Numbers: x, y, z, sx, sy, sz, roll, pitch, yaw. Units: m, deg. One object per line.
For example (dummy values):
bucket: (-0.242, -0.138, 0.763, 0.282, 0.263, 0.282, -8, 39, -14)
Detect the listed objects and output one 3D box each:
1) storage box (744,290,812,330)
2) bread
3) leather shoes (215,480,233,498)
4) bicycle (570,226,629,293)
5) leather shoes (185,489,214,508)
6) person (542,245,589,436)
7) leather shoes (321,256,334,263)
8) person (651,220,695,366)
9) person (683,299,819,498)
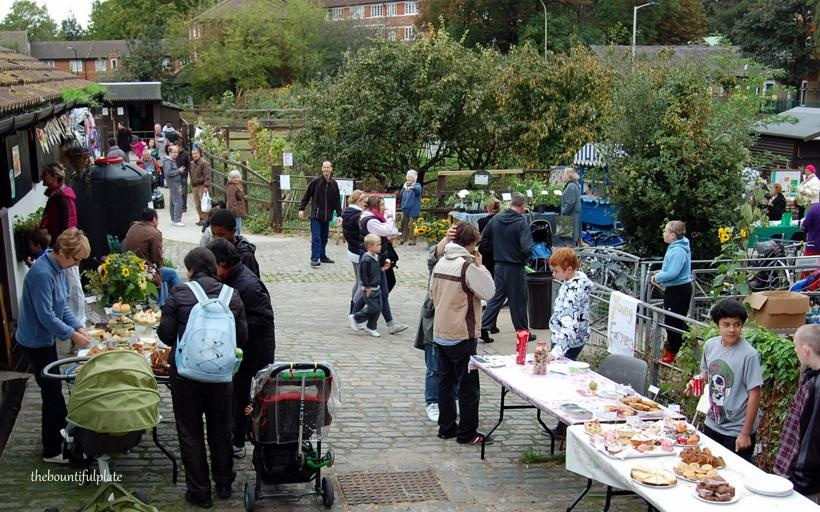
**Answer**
storage box: (6.093, 0.794, 13.754, 0.666, 0.732, 0.671, 0, 3, -8)
bread: (3.457, 2.683, 10.473, 1.192, 0.370, 0.740, 3, 13, 11)
leather shoes: (-2.573, 3.216, 11.593, 0.205, 0.161, 0.398, 0, -4, -13)
bicycle: (4.115, 0.075, 17.868, 1.379, 1.573, 0.700, 1, 1, -7)
leather shoes: (-2.878, 3.288, 11.441, 0.159, 0.190, 0.429, -10, 19, -43)
person: (2.506, 1.214, 13.266, 0.810, 2.670, 0.771, 0, 1, 15)
leather shoes: (-2.148, 0.076, 21.760, 0.397, 0.149, 0.136, 2, 20, -11)
person: (4.858, 0.556, 15.143, 0.852, 2.704, 0.742, 0, 0, -9)
person: (4.644, 1.857, 10.924, 0.905, 2.897, 0.996, -1, 2, -29)
